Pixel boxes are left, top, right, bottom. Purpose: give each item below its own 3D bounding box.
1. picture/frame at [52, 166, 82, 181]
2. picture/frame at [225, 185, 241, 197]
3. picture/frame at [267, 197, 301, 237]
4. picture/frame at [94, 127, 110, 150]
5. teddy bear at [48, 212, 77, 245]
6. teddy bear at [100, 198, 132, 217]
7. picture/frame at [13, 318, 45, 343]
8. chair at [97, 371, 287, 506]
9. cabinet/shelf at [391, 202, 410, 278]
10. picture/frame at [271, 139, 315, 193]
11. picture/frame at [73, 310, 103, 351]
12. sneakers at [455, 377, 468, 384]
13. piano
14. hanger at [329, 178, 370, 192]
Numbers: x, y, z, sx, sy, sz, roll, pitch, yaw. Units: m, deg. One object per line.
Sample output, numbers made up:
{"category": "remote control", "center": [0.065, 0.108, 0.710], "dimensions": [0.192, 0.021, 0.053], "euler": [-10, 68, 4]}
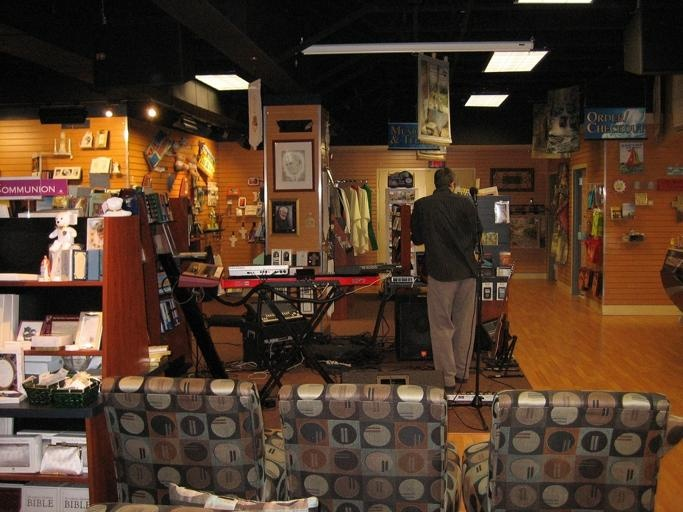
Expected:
{"category": "picture/frame", "center": [-4.131, -1.232, 9.056], "dimensions": [0.428, 0.225, 0.152], "euler": [0, 5, 6]}
{"category": "picture/frame", "center": [-2.301, -1.344, 12.700], "dimensions": [0.227, 0.243, 0.153], "euler": [-1, -13, -1]}
{"category": "picture/frame", "center": [-0.841, -0.599, 8.953], "dimensions": [0.544, 0.709, 0.078], "euler": [0, 2, 1]}
{"category": "picture/frame", "center": [-3.566, -1.744, 8.981], "dimensions": [0.203, 0.292, 0.101], "euler": [0, -9, 5]}
{"category": "teddy bear", "center": [-1.979, -0.185, 4.280], "dimensions": [0.203, 0.271, 0.151], "euler": [-1, -7, 2]}
{"category": "teddy bear", "center": [-1.630, -0.330, 4.302], "dimensions": [0.145, 0.079, 0.194], "euler": [-4, 19, -12]}
{"category": "picture/frame", "center": [-2.191, 0.535, 4.212], "dimensions": [0.157, 0.190, 0.019], "euler": [3, -28, -4]}
{"category": "chair", "center": [-0.833, 0.943, 3.736], "dimensions": [0.646, 0.983, 0.872], "euler": [2, 14, 6]}
{"category": "cabinet/shelf", "center": [0.880, -0.262, 8.702], "dimensions": [0.247, 0.941, 1.235], "euler": [0, 5, 5]}
{"category": "picture/frame", "center": [-0.690, -1.353, 8.921], "dimensions": [0.739, 0.948, 0.066], "euler": [0, 1, -2]}
{"category": "picture/frame", "center": [-1.703, 0.515, 4.074], "dimensions": [0.179, 0.267, 0.070], "euler": [0, -18, 13]}
{"category": "sneakers", "center": [1.277, 1.335, 6.408], "dimensions": [0.145, 0.066, 0.054], "euler": [2, -2, -1]}
{"category": "piano", "center": [-0.367, 0.242, 5.384], "dimensions": [1.416, 0.154, 0.382], "euler": [-1, 6, -8]}
{"category": "hanger", "center": [0.187, -1.436, 11.943], "dimensions": [0.608, 0.200, 0.454], "euler": [-1, 15, -4]}
